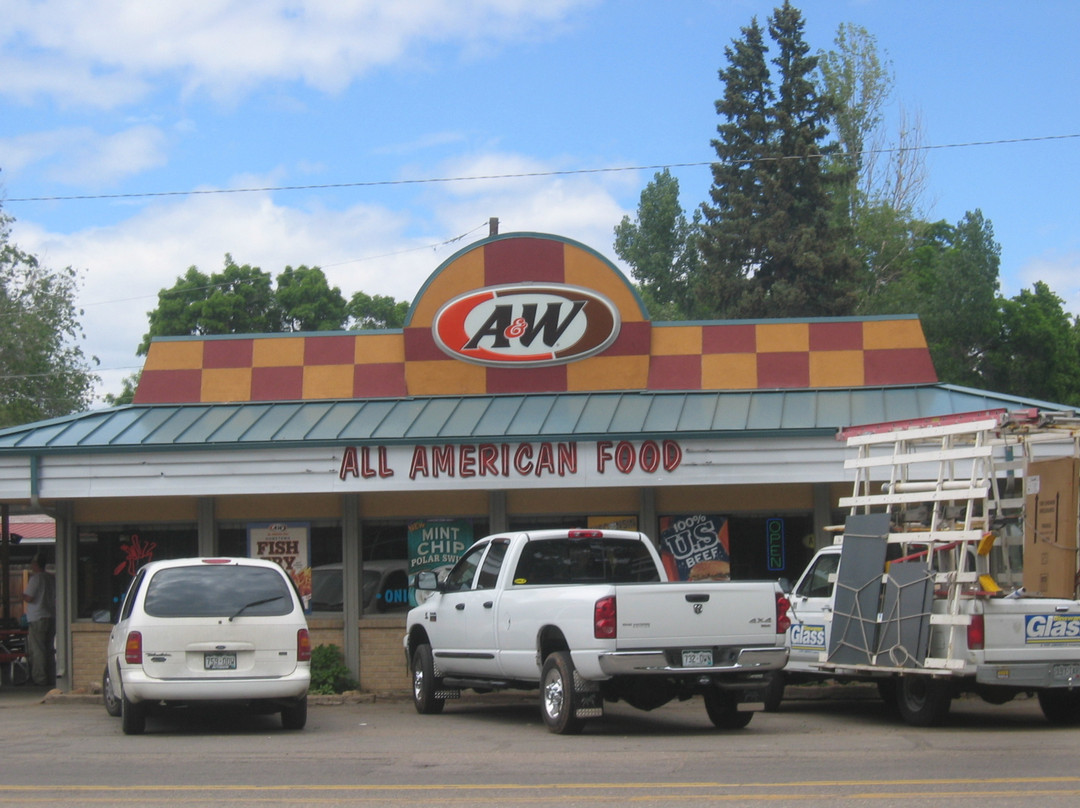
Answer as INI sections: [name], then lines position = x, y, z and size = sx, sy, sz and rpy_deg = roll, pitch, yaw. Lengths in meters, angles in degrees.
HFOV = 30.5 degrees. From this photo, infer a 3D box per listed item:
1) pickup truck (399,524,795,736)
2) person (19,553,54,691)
[pickup truck]
position = 0.706, 3.043, 27.131
size = 5.195, 2.805, 2.255
rpy_deg = -8, -10, 41
[person]
position = -8.569, 3.683, 34.029
size = 0.477, 2.266, 1.586
rpy_deg = 1, -7, -14
